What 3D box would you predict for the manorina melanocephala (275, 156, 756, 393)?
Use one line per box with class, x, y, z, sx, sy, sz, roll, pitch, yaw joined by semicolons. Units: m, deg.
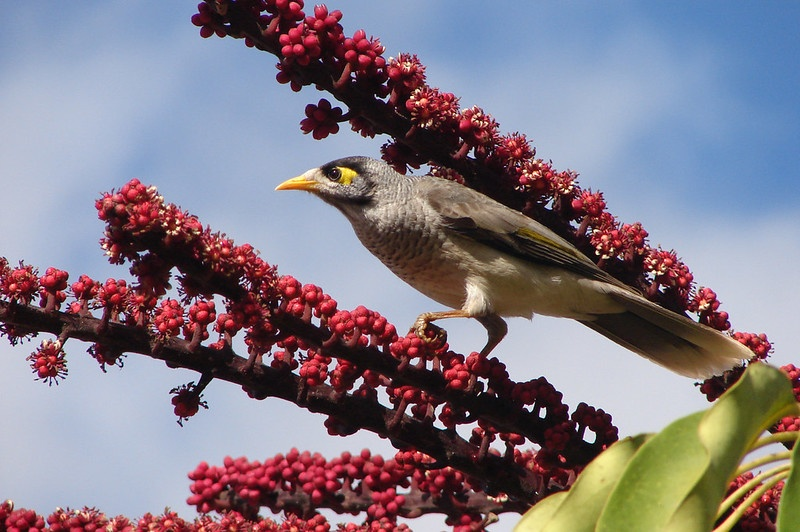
manorina melanocephala;0.369;0.059;10.406;4.093;1.671;1.203;4;-12;13
